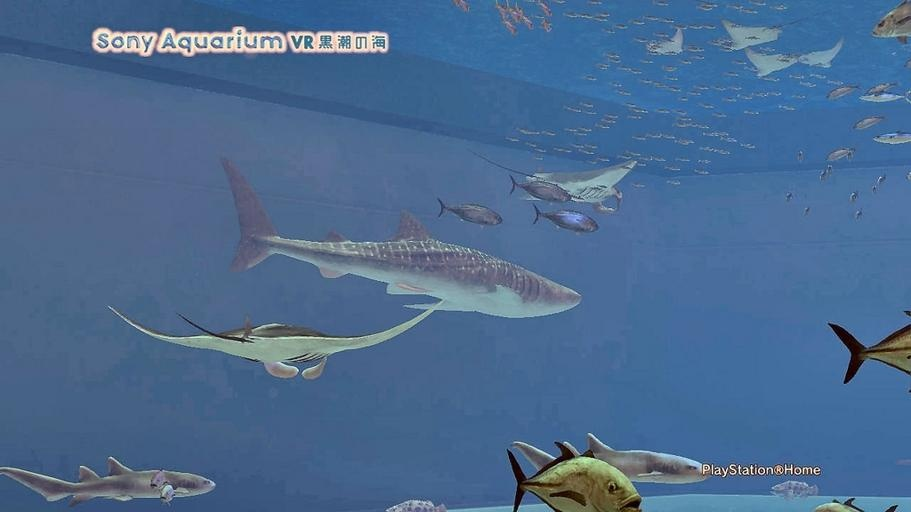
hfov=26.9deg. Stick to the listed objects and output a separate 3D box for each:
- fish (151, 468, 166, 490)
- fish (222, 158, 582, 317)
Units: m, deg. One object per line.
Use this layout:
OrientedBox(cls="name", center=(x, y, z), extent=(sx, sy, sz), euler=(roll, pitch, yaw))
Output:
OrientedBox(cls="fish", center=(-4.931, 3.677, 31.566), extent=(0.208, 0.295, 0.150), euler=(20, -22, 37))
OrientedBox(cls="fish", center=(-1.227, -0.328, 32.992), extent=(7.046, 2.016, 1.306), euler=(9, -28, -16))
